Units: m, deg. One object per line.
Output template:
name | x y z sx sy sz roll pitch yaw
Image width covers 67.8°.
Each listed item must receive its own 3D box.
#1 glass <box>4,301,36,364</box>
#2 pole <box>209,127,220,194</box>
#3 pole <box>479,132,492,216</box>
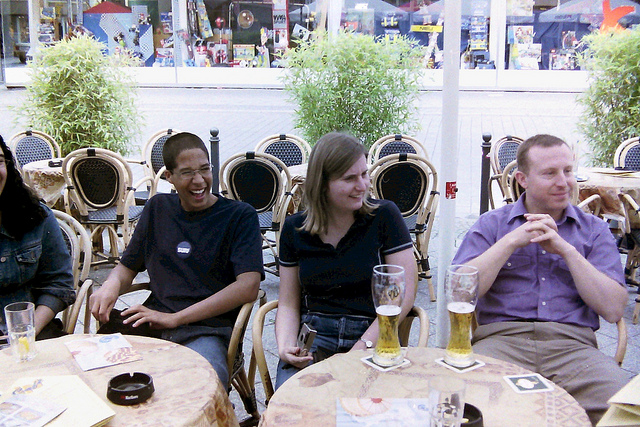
glass | -1.335 0.516 2.160 0.136 0.291 0.142 4 10 28
pole | -1.424 -0.711 6.461 0.099 0.854 0.500 -2 8 -13
pole | 2.152 -0.520 6.205 0.124 1.059 0.463 3 9 19
